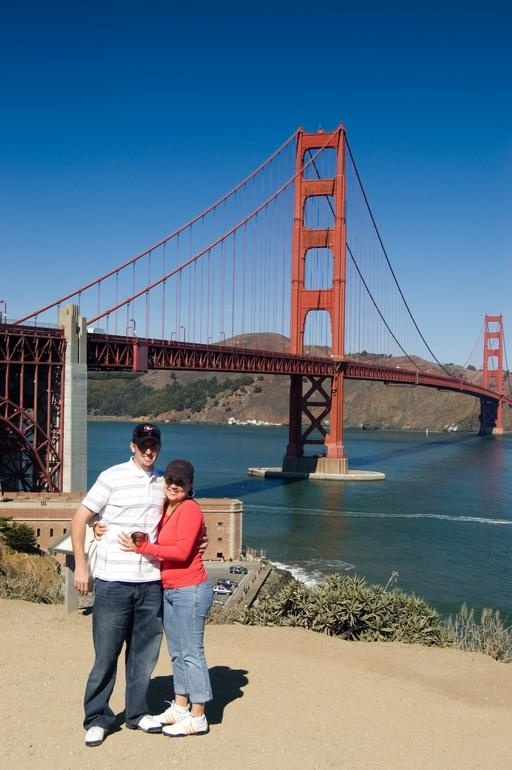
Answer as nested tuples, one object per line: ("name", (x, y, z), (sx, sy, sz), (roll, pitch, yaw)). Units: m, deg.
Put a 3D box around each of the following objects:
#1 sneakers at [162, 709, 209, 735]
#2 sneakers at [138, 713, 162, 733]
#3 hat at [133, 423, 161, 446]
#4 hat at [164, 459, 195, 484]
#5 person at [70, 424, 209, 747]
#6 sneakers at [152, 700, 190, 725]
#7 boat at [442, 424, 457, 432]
("sneakers", (-0.373, 1.825, 5.308), (0.263, 0.123, 0.096), (3, -13, -7))
("sneakers", (-0.565, 1.812, 5.272), (0.155, 0.063, 0.062), (-2, -5, 24))
("hat", (-0.595, 0.265, 5.325), (0.106, 0.086, 0.154), (3, -10, -13))
("hat", (-0.409, 0.474, 5.366), (0.114, 0.095, 0.181), (8, -13, 8))
("person", (-0.723, 1.033, 5.245), (0.587, 1.662, 0.247), (10, -7, -43))
("sneakers", (-0.494, 1.769, 5.323), (0.265, 0.123, 0.088), (-3, -11, -21))
("boat", (25.995, 5.641, 131.575), (1.232, 0.673, 2.184), (3, -7, 2))
